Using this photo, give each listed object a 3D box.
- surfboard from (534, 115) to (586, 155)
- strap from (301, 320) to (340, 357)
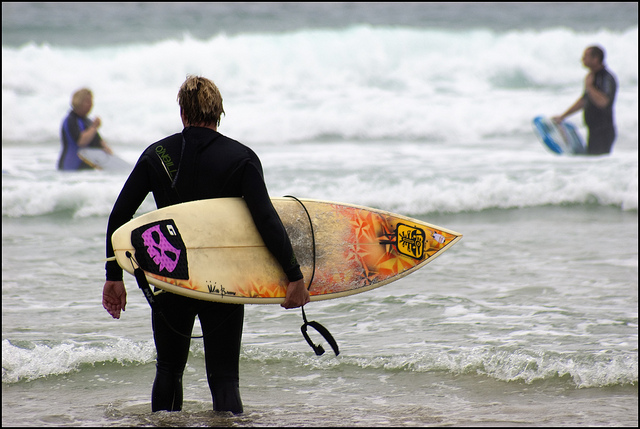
[{"bbox_3d":[5.076,-1.647,26.267,1.089,0.754,0.682,2,7,30],"label":"surfboard"},{"bbox_3d":[-0.003,1.827,18.571,0.381,0.640,0.134,-47,-9,23],"label":"strap"}]
